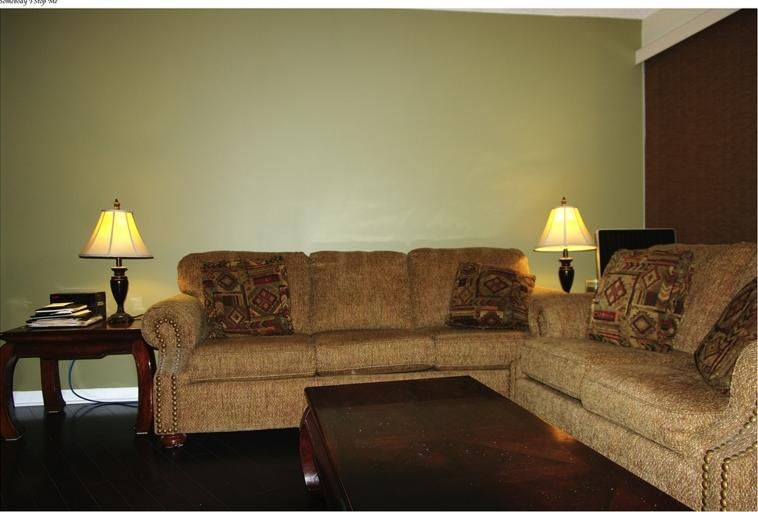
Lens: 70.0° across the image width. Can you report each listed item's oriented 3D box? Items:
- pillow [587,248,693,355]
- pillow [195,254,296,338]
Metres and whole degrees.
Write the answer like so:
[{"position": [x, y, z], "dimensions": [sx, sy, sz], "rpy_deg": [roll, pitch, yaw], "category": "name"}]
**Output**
[{"position": [1.581, 0.249, 3.230], "dimensions": [0.215, 0.585, 0.583], "rpy_deg": [18, -3, -32], "category": "pillow"}, {"position": [-0.921, 0.298, 3.765], "dimensions": [0.556, 0.552, 0.135], "rpy_deg": [2, -15, -16], "category": "pillow"}]
